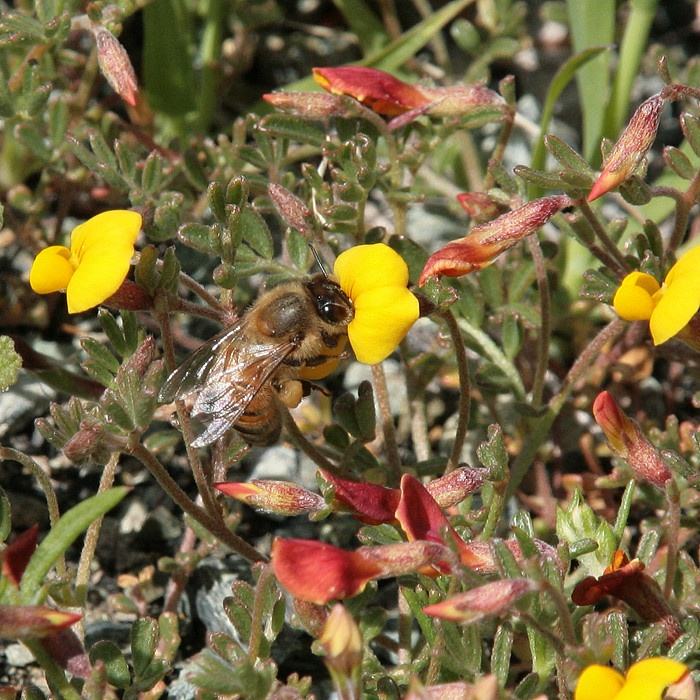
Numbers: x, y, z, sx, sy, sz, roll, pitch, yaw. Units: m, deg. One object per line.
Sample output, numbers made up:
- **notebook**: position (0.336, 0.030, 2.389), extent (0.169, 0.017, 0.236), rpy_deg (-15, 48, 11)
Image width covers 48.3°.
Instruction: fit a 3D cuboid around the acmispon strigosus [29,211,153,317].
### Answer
- **acmispon strigosus**: position (-0.538, -0.155, 1.766), extent (0.279, 0.076, 0.242), rpy_deg (-32, 39, 20)
